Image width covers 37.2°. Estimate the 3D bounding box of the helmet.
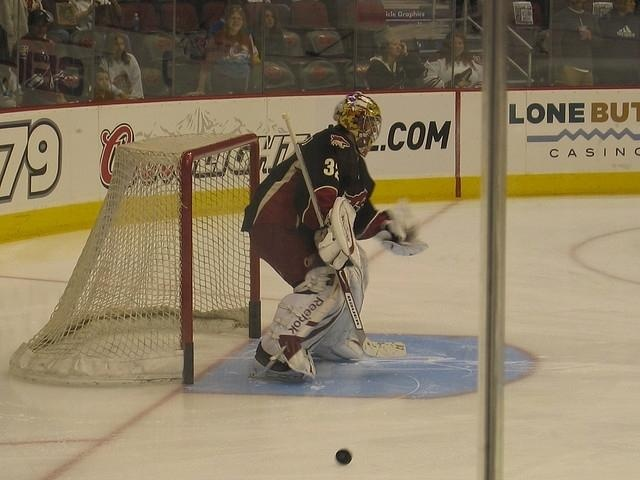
[{"bbox_3d":[0.163,-0.708,5.659,0.354,0.380,0.310,5,8,-1],"label":"helmet"}]
